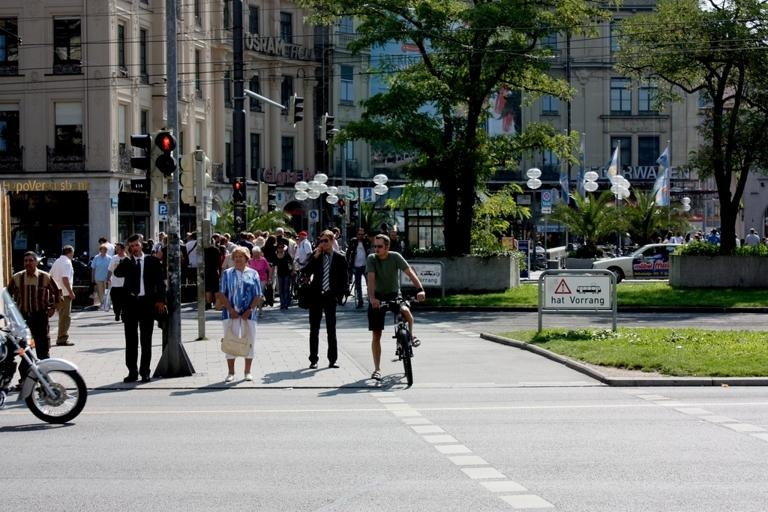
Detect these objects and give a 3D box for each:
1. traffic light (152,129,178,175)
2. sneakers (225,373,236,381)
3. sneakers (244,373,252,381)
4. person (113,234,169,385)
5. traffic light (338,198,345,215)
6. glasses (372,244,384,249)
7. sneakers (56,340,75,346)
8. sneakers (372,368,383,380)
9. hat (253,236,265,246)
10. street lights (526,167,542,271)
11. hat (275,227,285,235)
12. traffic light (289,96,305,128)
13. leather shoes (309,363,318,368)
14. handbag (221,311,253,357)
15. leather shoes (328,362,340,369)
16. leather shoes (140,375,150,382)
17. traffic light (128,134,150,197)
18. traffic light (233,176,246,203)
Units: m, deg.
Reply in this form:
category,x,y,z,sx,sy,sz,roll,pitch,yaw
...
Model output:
category,x,y,z,sx,sy,sz,roll,pitch,yaw
traffic light,-5.109,-2.512,31.182,0.621,1.218,0.438,-2,27,-7
sneakers,-3.551,2.810,30.670,0.216,0.146,0.470,0,2,5
sneakers,-3.139,2.811,30.661,0.140,0.160,0.380,-1,-6,-6
person,-5.710,1.199,30.851,1.303,3.333,0.950,-1,-7,-12
traffic light,-1.659,-1.956,52.359,0.296,0.628,0.394,0,2,-2
glasses,-0.127,-0.215,30.377,0.068,0.122,0.243,-2,3,-43
sneakers,-8.293,2.269,34.568,0.421,0.177,0.180,-1,-3,-9
sneakers,-0.167,2.753,30.748,0.255,0.236,0.562,0,-3,8
hat,-4.018,-0.486,42.957,0.247,0.301,0.323,6,43,-4
street lights,6.176,-1.648,54.644,0.723,3.864,0.722,1,4,21
hat,-3.328,-0.793,42.287,0.230,0.302,0.301,2,21,3
traffic light,-3.149,-5.385,47.708,0.456,0.942,1.565,-1,2,-7
leather shoes,-1.696,2.631,31.774,0.212,0.118,0.242,-1,2,-7
handbag,-3.362,1.848,30.589,0.675,0.945,0.282,12,15,3
leather shoes,-1.191,2.625,31.861,0.260,0.126,0.336,-1,2,-6
leather shoes,-5.499,2.839,30.692,0.222,0.171,0.280,-1,2,-9
traffic light,-5.796,-2.519,31.702,0.482,0.281,1.418,-11,-24,-16
traffic light,-4.990,-2.306,45.706,0.392,0.858,0.527,-1,2,-7
